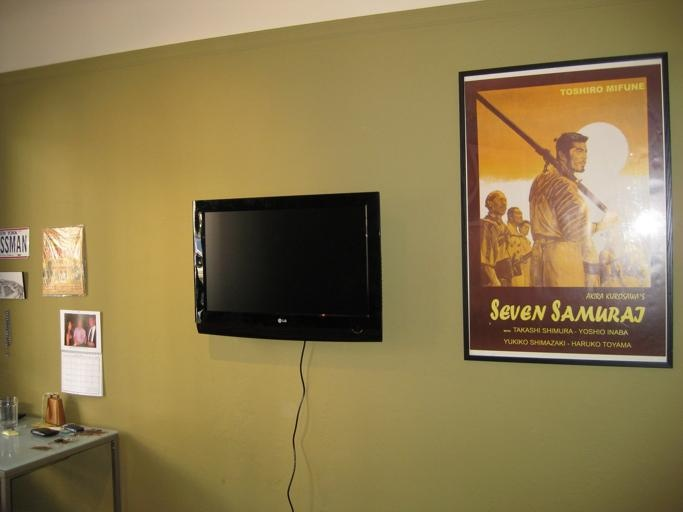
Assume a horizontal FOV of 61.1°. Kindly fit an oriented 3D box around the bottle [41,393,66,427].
[{"bbox_3d":[-1.721,0.928,3.484,0.149,0.235,0.095,-2,-5,19],"label":"bottle"}]
